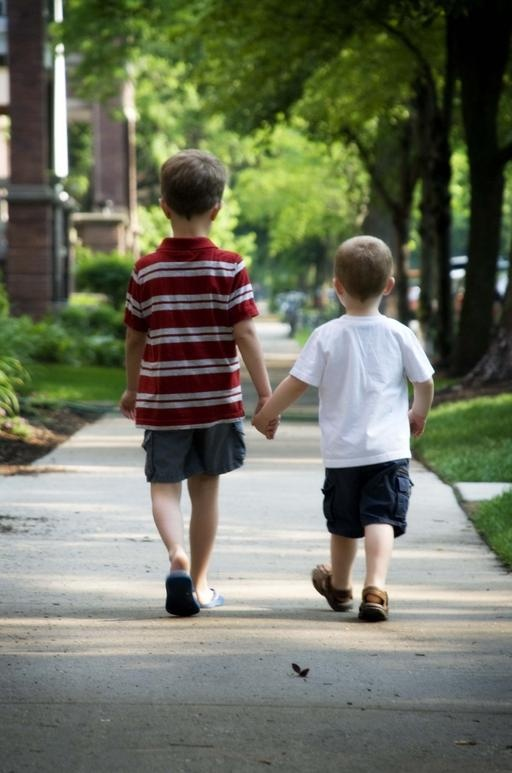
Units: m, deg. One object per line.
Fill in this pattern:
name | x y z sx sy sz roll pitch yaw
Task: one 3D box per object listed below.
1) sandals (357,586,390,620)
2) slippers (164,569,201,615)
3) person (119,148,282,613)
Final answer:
sandals | 0.443 0.805 4.071 0.070 0.070 0.162 0 -23 4
slippers | -0.269 0.753 3.989 0.107 0.193 0.061 -5 46 7
person | -0.300 0.001 4.152 0.583 1.764 0.576 11 13 33
